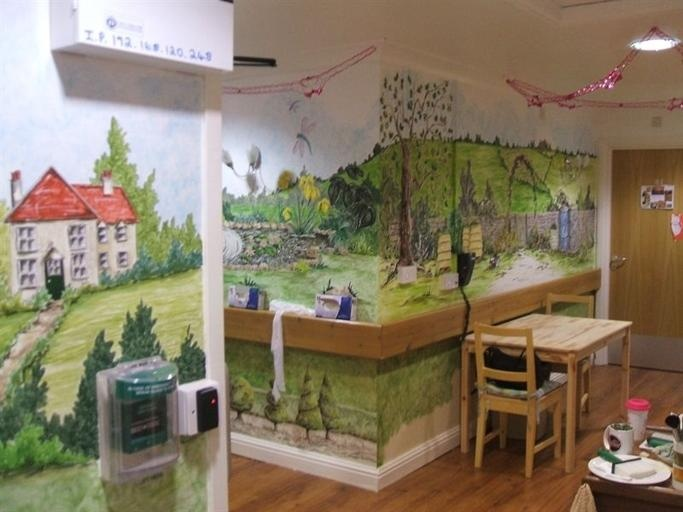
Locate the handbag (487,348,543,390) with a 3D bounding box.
[{"bbox_3d":[1.392,0.884,4.432,0.374,0.368,0.268,-10,7,-25],"label":"handbag"}]

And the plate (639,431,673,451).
[{"bbox_3d":[1.775,1.046,3.100,0.135,0.033,0.149,-3,7,34],"label":"plate"}]

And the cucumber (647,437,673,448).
[{"bbox_3d":[1.766,1.036,3.059,0.088,0.029,0.093,3,3,26],"label":"cucumber"}]

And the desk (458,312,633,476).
[{"bbox_3d":[1.778,0.741,4.818,1.036,1.039,1.797,2,7,30],"label":"desk"}]
